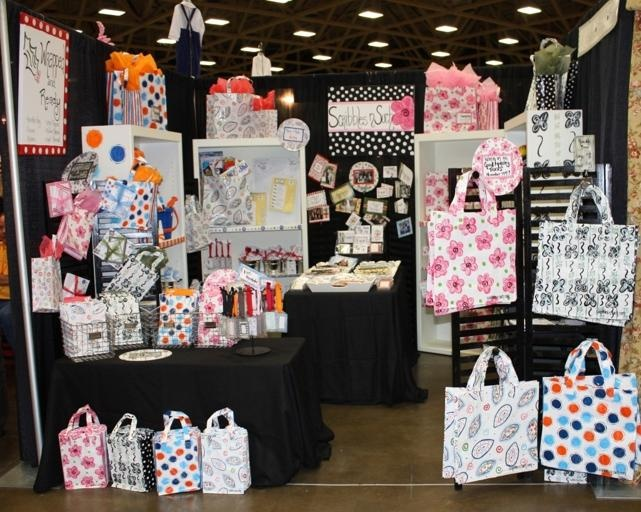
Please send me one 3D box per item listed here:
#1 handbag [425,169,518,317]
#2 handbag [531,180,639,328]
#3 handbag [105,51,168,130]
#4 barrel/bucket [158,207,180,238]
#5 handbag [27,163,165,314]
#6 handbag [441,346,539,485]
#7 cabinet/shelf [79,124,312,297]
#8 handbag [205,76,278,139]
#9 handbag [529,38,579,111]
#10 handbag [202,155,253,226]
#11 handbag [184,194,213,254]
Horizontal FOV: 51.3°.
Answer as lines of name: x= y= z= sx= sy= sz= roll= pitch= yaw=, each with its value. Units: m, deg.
handbag: x=0.930 y=-0.092 z=4.105 sx=0.548 sy=0.843 sz=0.156 roll=-3 pitch=9 yaw=-13
handbag: x=1.562 y=-0.018 z=3.956 sx=0.555 sy=0.821 sz=0.152 roll=3 pitch=9 yaw=18
handbag: x=-1.421 y=-1.246 z=5.070 sx=0.381 sy=0.574 sz=0.715 roll=-1 pitch=9 yaw=-2
barrel/bucket: x=-1.184 y=-0.264 z=5.460 sx=0.188 sy=0.238 sz=0.174 roll=3 pitch=5 yaw=0
handbag: x=-1.564 y=-0.133 z=4.557 sx=0.844 sy=0.917 sz=0.261 roll=-2 pitch=3 yaw=-16
handbag: x=1.016 y=0.965 z=3.993 sx=0.613 sy=0.759 sz=0.179 roll=-5 pitch=10 yaw=-26
cabinet/shelf: x=-1.029 y=-0.416 z=5.601 sx=1.575 sy=1.552 sz=0.463 roll=1 pitch=0 yaw=-31
handbag: x=-0.776 y=-1.439 z=6.595 sx=0.714 sy=0.655 sz=0.291 roll=-4 pitch=11 yaw=-19
handbag: x=1.673 y=-1.295 z=4.813 sx=0.325 sy=0.501 sz=0.388 roll=3 pitch=10 yaw=21
handbag: x=-0.917 y=-0.617 z=6.565 sx=0.605 sy=0.848 sz=0.422 roll=-1 pitch=7 yaw=0
handbag: x=-1.116 y=-0.310 z=6.192 sx=0.109 sy=0.508 sz=0.369 roll=2 pitch=10 yaw=18
